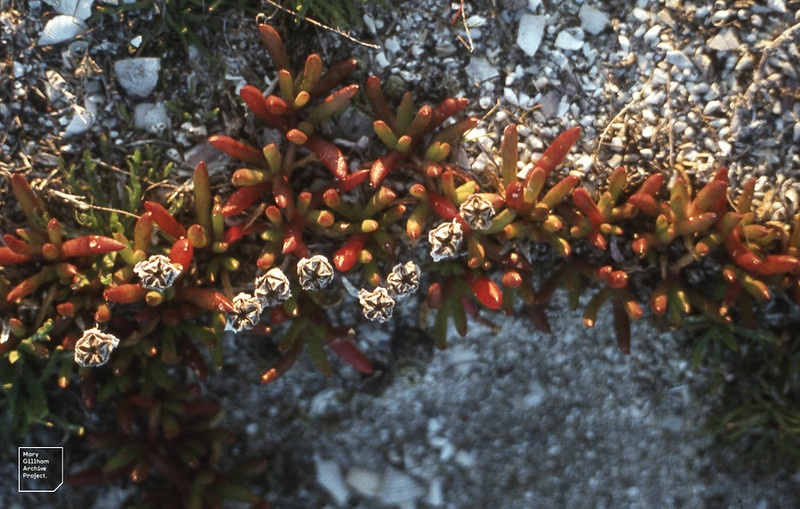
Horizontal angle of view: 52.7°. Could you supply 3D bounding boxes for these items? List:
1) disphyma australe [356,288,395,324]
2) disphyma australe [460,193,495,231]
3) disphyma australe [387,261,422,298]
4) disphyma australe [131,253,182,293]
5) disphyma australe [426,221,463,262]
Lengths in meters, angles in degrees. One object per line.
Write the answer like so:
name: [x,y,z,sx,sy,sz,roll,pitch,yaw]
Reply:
disphyma australe: [-0.154,0.302,5.453,0.244,0.245,0.097,-17,87,-16]
disphyma australe: [0.516,-0.233,5.416,0.254,0.227,0.078,-28,64,-21]
disphyma australe: [0.019,0.166,5.444,0.218,0.173,0.163,-11,65,-1]
disphyma australe: [-1.585,0.119,5.339,0.259,0.184,0.198,-29,67,-9]
disphyma australe: [0.321,-0.103,5.414,0.266,0.227,0.213,-17,66,-4]
